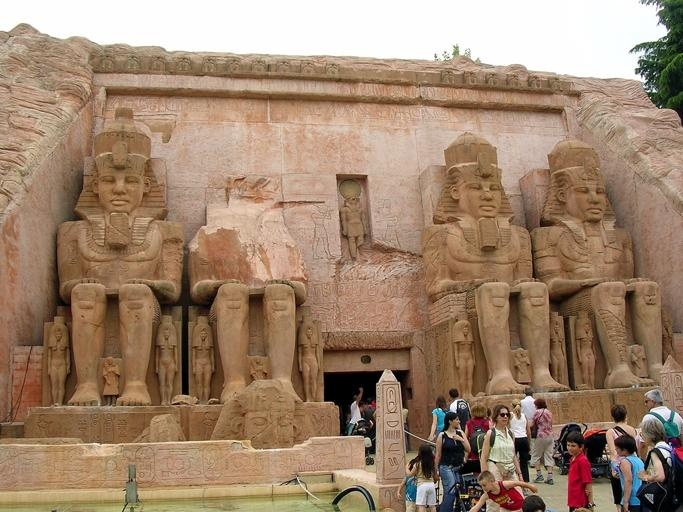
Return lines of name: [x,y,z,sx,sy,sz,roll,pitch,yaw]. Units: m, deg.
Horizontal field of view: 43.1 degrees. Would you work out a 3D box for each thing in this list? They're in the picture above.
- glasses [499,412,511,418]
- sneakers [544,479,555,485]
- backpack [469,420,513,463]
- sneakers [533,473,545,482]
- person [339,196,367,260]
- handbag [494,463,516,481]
glasses: [1.630,1.583,8.553,0.049,0.055,0.148,-14,-21,33]
sneakers: [2.391,2.594,9.905,0.090,0.068,0.120,-5,-18,11]
backpack: [1.439,1.865,8.499,0.405,0.389,0.301,3,-4,-11]
sneakers: [2.300,2.604,10.090,0.050,0.092,0.143,1,-5,-27]
person: [0.217,-0.455,14.877,0.424,1.174,0.243,-1,-18,-4]
handbag: [1.583,2.089,8.353,0.155,0.086,0.197,6,-5,-28]
